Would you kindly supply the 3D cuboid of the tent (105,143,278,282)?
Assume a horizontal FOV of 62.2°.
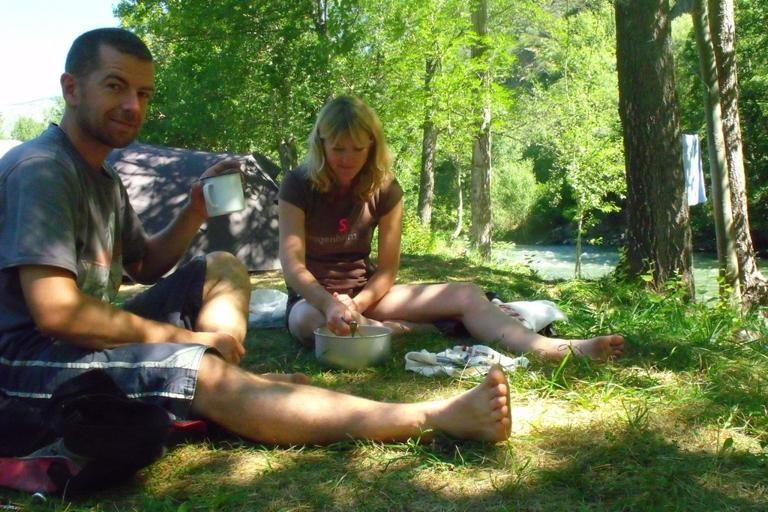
[{"bbox_3d":[-2.229,-0.643,7.608,1.970,0.778,1.944,-4,10,-35],"label":"tent"}]
